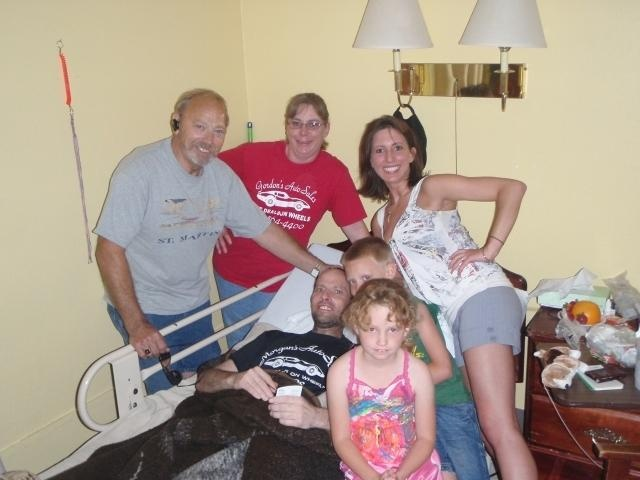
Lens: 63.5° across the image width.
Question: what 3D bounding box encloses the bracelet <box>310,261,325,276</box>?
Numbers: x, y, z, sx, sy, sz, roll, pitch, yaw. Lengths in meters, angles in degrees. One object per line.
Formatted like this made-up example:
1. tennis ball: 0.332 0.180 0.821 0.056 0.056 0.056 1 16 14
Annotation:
1. bracelet: -0.008 0.145 2.549 0.073 0.048 0.076 35 -16 -38

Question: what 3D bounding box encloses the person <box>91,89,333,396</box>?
1. person: -0.446 0.268 2.501 1.133 1.826 0.791 -9 22 -24

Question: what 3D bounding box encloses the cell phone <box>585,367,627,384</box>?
1. cell phone: 1.095 0.510 1.968 0.079 0.075 0.076 -7 7 -3

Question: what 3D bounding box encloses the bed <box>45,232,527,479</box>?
1. bed: -0.029 0.392 2.117 1.739 0.710 0.897 -10 15 -2

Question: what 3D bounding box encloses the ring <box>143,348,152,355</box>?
1. ring: -0.689 0.445 2.065 0.029 0.027 0.010 -3 -2 -39

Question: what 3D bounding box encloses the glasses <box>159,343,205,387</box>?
1. glasses: -0.586 0.494 2.163 0.060 0.173 0.177 -34 38 0

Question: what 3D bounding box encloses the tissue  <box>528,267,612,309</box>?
1. tissue : 1.171 0.241 2.446 0.260 0.060 0.256 4 25 31

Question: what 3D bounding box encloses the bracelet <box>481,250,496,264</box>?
1. bracelet: 0.694 0.080 2.110 0.022 0.039 0.054 4 5 -24
